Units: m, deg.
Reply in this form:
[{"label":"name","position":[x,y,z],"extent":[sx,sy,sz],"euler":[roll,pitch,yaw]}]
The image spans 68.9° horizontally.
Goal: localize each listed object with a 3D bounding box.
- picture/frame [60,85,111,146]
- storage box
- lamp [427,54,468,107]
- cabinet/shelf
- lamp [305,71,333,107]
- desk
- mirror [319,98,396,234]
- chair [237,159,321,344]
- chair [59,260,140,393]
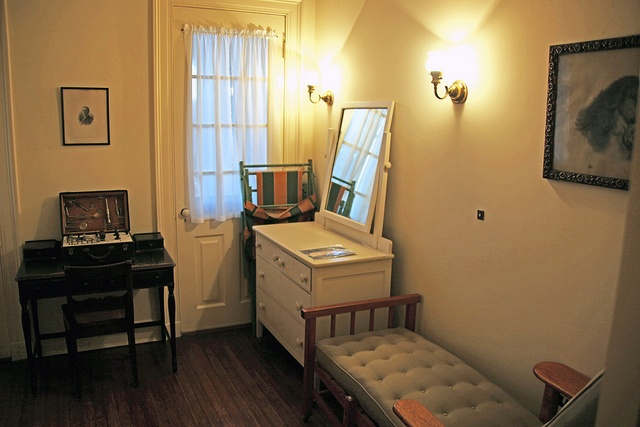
[{"label":"picture/frame","position":[-1.986,-0.829,3.965],"extent":[0.381,0.513,0.020],"euler":[-2,-7,-13]},{"label":"storage box","position":[-1.862,0.107,3.898],"extent":[0.606,0.593,0.545],"euler":[-8,13,-43]},{"label":"lamp","position":[0.817,-0.904,3.147],"extent":[0.213,0.336,0.306],"euler":[-6,15,-22]},{"label":"cabinet/shelf","position":[-0.048,0.650,4.054],"extent":[0.729,1.113,1.316],"euler":[-4,11,-24]},{"label":"lamp","position":[-0.031,-1.176,4.447],"extent":[0.259,0.317,0.172],"euler":[-1,13,-11]},{"label":"desk","position":[-1.865,0.785,3.989],"extent":[1.145,1.088,0.722],"euler":[-3,14,-24]},{"label":"mirror","position":[0.332,-0.374,3.895],"extent":[0.056,1.291,0.942],"euler":[9,10,-33]},{"label":"chair","position":[-0.379,0.206,4.668],"extent":[0.770,1.431,0.476],"euler":[-5,22,-9]},{"label":"chair","position":[-1.713,0.850,3.663],"extent":[0.488,1.054,0.414],"euler":[-8,15,-27]}]
